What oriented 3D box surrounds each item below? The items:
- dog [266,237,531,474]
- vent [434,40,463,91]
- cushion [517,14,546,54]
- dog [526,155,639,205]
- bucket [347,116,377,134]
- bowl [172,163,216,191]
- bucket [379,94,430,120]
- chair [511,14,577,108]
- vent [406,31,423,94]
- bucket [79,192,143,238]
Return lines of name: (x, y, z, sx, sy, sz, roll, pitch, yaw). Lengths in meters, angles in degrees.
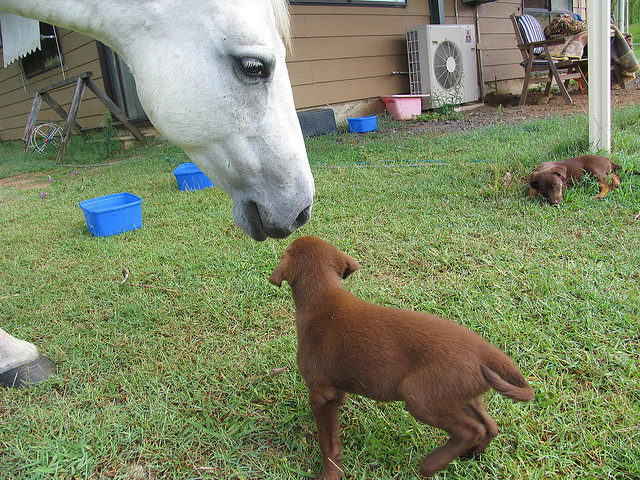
dog: (0.262, 0.426, 1.764, 0.913, 0.812, 0.379, 1, 17, 24)
vent: (2.215, -3.077, 8.589, 0.078, 0.919, 0.719, 9, 19, 41)
cushion: (3.715, -3.736, 8.668, 0.313, 0.464, 1.005, 6, 22, 37)
dog: (1.792, -0.397, 3.314, 0.481, 0.194, 0.148, -28, 12, -4)
bucket: (0.643, -1.690, 7.238, 0.326, 0.181, 0.237, -9, 14, -28)
bowl: (-1.216, -0.578, 4.658, 0.274, 0.177, 0.432, -4, 23, -11)
bucket: (1.366, -2.200, 8.143, 0.616, 0.399, 0.677, -7, 17, 2)
chair: (3.748, -3.111, 8.370, 0.894, 1.504, 1.826, 0, 18, 22)
vent: (1.761, -3.266, 8.898, 0.235, 1.112, 0.333, -21, 22, -36)
bucket: (-1.506, -0.181, 3.747, 0.302, 0.178, 0.248, -12, 18, 0)
